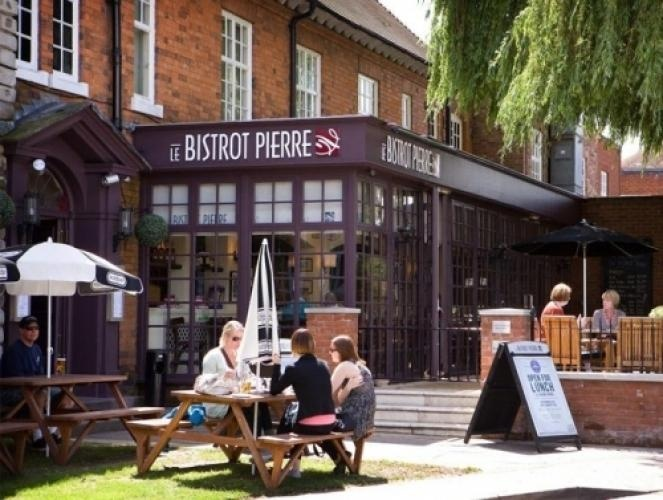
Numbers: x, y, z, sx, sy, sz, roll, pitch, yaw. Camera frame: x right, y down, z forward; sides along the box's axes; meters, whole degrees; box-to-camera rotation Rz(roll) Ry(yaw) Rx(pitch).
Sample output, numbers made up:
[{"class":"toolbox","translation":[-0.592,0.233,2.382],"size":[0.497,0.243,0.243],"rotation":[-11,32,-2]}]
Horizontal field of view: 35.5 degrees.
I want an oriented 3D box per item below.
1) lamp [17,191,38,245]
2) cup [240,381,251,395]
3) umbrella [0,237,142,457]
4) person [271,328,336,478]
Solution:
[{"class":"lamp","translation":[-4.774,-0.479,16.195],"size":[0.252,0.792,0.314],"rotation":[2,-3,-28]},{"class":"cup","translation":[-1.127,1.772,13.284],"size":[0.127,0.171,0.195],"rotation":[1,-3,-6]},{"class":"umbrella","translation":[-4.061,1.510,15.703],"size":[2.667,2.728,2.938],"rotation":[0,-2,-2]},{"class":"person","translation":[-0.325,1.964,13.288],"size":[0.837,1.815,0.836],"rotation":[-5,9,-36]}]
